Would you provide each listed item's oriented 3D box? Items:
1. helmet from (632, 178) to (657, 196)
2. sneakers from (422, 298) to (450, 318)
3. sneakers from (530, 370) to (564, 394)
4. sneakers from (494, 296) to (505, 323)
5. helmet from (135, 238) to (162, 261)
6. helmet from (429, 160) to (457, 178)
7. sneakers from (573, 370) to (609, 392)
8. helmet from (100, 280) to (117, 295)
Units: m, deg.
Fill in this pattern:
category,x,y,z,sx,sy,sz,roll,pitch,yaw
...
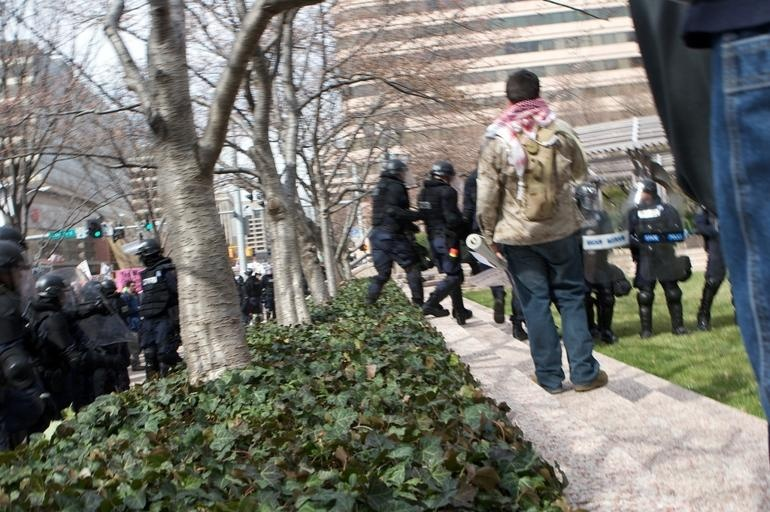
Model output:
category,x,y,z,sx,sy,sz,roll,pitch,yaw
helmet,2.826,-0.748,5.382,0.221,0.173,0.200,-9,10,7
sneakers,0.856,0.865,8.136,0.629,0.235,0.195,19,22,-41
sneakers,1.412,1.119,4.378,0.122,0.125,0.326,-13,25,-24
sneakers,1.947,0.904,8.357,0.197,0.424,0.203,1,7,-3
helmet,-3.895,-0.121,8.360,0.440,0.342,0.326,1,2,5
helmet,0.949,-1.401,8.015,0.313,0.280,0.406,14,20,40
sneakers,1.777,1.041,4.253,0.345,0.132,0.137,-14,21,-27
helmet,-5.143,0.583,9.193,0.304,0.336,0.340,1,42,-26
